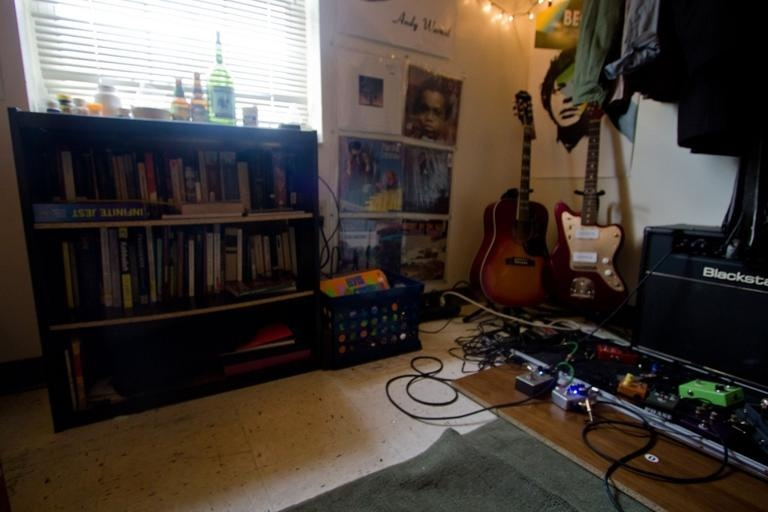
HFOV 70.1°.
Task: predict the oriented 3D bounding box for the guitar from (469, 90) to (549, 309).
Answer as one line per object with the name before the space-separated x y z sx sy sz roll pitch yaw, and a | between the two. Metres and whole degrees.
guitar | 0.812 -0.360 3.362 0.430 1.292 0.555 8 15 42

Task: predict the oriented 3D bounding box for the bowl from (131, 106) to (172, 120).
bowl | -1.082 -0.661 2.532 0.170 0.066 0.145 -5 11 -18

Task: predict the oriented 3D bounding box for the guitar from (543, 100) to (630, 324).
guitar | 1.247 -0.251 3.246 0.444 1.271 0.415 5 13 33

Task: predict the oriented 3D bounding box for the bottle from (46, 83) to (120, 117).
bottle | -1.397 -0.715 2.560 0.248 0.238 0.167 -1 13 -16

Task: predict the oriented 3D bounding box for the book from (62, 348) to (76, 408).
book | -1.418 0.557 2.474 0.023 0.271 0.026 -9 13 -32

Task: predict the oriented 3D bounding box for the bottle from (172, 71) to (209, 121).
bottle | -0.943 -0.767 2.639 0.175 0.245 0.168 -2 11 0

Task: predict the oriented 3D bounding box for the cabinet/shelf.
cabinet/shelf | -1.103 0.091 2.606 1.437 1.409 0.454 -5 9 -31
